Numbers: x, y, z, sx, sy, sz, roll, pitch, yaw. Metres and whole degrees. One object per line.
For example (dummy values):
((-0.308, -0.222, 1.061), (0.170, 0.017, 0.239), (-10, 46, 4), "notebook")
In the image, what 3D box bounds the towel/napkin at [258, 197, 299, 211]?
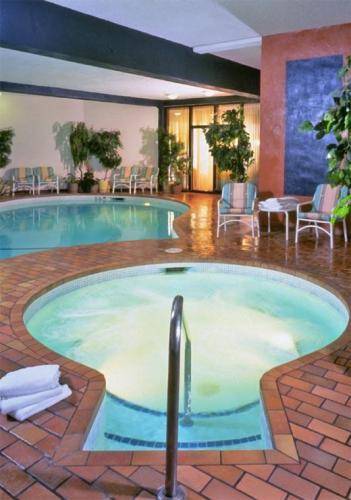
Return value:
((2.081, -0.872, 6.817), (0.411, 0.157, 0.421), (-8, 9, -34), "towel/napkin")

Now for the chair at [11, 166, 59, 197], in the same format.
((-5.533, -2.660, 13.775), (1.355, 0.883, 0.553), (-7, 13, -36), "chair")

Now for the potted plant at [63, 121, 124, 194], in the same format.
((-3.420, -3.881, 14.911), (1.942, 2.789, 1.141), (-5, 15, -19), "potted plant")

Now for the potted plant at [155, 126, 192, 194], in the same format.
((-0.219, -3.895, 15.176), (0.903, 2.364, 2.039), (-11, 19, -39), "potted plant")

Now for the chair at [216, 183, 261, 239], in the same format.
((1.404, -0.941, 7.774), (0.888, 1.043, 2.237), (3, 15, 9), "chair")

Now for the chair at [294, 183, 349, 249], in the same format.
((2.517, -0.575, 6.121), (0.817, 1.020, 3.095), (5, 16, 18), "chair")
